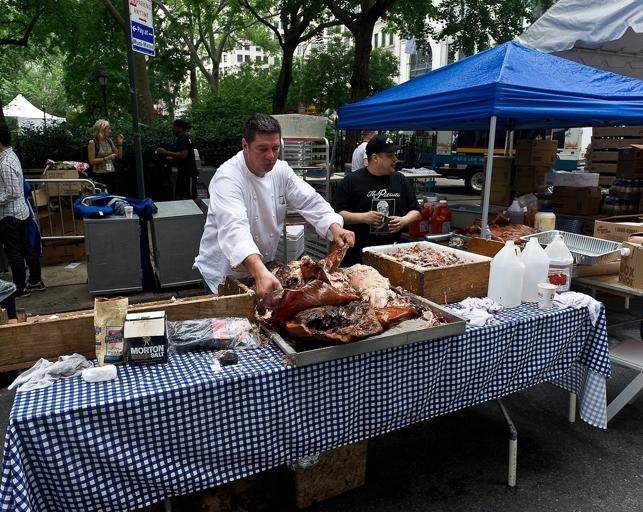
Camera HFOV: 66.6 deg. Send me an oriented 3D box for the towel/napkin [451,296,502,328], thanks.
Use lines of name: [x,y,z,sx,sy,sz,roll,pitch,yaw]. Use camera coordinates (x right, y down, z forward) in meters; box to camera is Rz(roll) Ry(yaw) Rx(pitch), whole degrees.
towel/napkin: [1.021,0.366,3.202,0.227,0.046,0.198,-16,24,-34]

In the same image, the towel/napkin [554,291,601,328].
towel/napkin: [1.784,0.354,3.421,0.261,0.107,0.251,-7,16,-16]

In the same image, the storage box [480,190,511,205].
storage box: [2.288,-0.746,6.357,0.221,0.251,0.401,-7,12,-28]

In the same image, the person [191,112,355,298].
person: [-0.292,-0.278,3.388,1.103,1.326,1.304,-6,18,-17]

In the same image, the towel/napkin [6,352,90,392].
towel/napkin: [-1.381,0.593,2.490,0.213,0.058,0.281,7,16,37]

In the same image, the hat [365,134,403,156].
hat: [0.588,-1.034,4.708,0.265,0.134,0.191,-9,26,7]

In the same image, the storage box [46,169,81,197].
storage box: [-4.276,-1.175,8.140,0.514,0.366,1.817,-9,19,-27]

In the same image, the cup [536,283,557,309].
cup: [1.512,0.269,3.317,0.160,0.164,0.154,0,6,0]

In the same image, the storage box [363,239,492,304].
storage box: [0.699,0.118,3.581,0.539,0.210,0.574,-10,16,-35]

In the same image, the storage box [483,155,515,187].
storage box: [2.536,-1.171,7.080,0.573,0.531,0.564,6,14,26]

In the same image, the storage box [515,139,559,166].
storage box: [2.855,-1.355,6.529,0.415,0.295,0.406,-7,16,-25]
